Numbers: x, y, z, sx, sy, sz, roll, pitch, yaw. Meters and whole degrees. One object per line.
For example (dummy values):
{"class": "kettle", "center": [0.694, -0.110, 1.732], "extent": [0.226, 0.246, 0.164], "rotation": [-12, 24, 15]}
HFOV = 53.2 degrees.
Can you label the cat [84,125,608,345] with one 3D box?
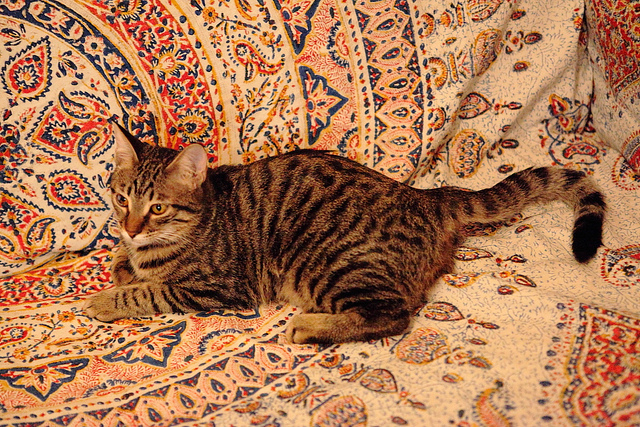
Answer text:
{"class": "cat", "center": [0.327, 0.097, 2.763], "extent": [2.528, 0.783, 0.831], "rotation": [-1, -64, 6]}
